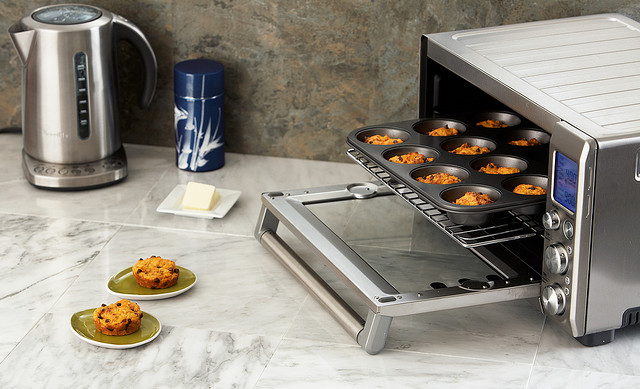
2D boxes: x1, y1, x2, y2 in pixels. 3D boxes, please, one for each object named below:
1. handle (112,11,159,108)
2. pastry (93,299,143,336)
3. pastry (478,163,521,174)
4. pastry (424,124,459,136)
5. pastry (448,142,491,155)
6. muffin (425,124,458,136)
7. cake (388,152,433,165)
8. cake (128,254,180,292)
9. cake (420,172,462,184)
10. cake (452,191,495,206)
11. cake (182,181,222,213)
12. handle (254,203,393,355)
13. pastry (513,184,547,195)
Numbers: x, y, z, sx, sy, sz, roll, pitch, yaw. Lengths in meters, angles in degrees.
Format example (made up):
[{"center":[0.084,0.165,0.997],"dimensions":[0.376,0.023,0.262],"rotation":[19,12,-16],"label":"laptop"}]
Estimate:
[{"center":[-0.573,-0.465,1.692],"dimensions":[0.197,0.305,0.144],"rotation":[-14,41,-21],"label":"handle"},{"center":[-0.445,0.274,1.080],"dimensions":[0.125,0.033,0.086],"rotation":[-5,23,-13],"label":"pastry"},{"center":[0.412,-0.059,1.127],"dimensions":[0.093,0.012,0.050],"rotation":[2,27,2],"label":"pastry"},{"center":[0.312,-0.160,1.253],"dimensions":[0.087,0.017,0.058],"rotation":[-4,27,-9],"label":"pastry"},{"center":[0.372,-0.108,1.195],"dimensions":[0.049,0.011,0.048],"rotation":[12,21,35],"label":"pastry"},{"center":[0.314,-0.162,1.257],"dimensions":[0.079,0.017,0.061],"rotation":[3,27,4],"label":"muffin"},{"center":[0.213,-0.082,1.147],"dimensions":[0.063,0.015,0.047],"rotation":[-1,14,-5],"label":"cake"},{"center":[-0.403,0.193,1.220],"dimensions":[0.117,0.032,0.093],"rotation":[-16,32,-32],"label":"cake"},{"center":[0.271,-0.036,1.106],"dimensions":[0.053,0.011,0.040],"rotation":[1,15,1],"label":"cake"},{"center":[0.323,0.009,1.012],"dimensions":[0.049,0.012,0.048],"rotation":[13,20,43],"label":"cake"},{"center":[-0.373,0.016,1.555],"dimensions":[0.117,0.053,0.098],"rotation":[7,28,11],"label":"cake"},{"center":[-0.019,0.189,1.217],"dimensions":[0.066,0.168,0.514],"rotation":[-22,34,-28],"label":"handle"},{"center":[0.451,-0.011,1.053],"dimensions":[0.065,0.013,0.058],"rotation":[6,27,11],"label":"pastry"}]
